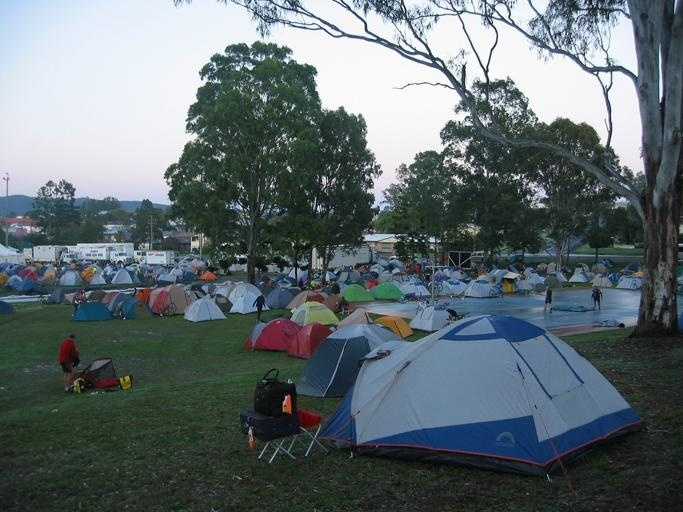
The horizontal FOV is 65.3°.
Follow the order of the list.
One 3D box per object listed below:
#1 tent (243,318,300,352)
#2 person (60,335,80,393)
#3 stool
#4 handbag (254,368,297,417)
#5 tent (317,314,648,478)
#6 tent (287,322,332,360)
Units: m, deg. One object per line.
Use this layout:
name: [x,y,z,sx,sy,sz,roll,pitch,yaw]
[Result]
tent: [-2.863,3.312,22.397,1.411,0.651,1.587,1,5,14]
person: [-8.898,3.405,17.433,0.520,1.710,1.280,-2,3,-29]
stool: [-1.034,3.909,11.660,1.113,1.749,1.120,1,-6,10]
handbag: [-1.296,2.819,10.898,0.874,0.956,0.880,2,-5,-34]
tent: [2.598,2.799,10.893,3.583,1.725,3.789,2,4,39]
tent: [-1.378,3.216,20.656,1.232,0.684,1.389,-18,16,-40]
